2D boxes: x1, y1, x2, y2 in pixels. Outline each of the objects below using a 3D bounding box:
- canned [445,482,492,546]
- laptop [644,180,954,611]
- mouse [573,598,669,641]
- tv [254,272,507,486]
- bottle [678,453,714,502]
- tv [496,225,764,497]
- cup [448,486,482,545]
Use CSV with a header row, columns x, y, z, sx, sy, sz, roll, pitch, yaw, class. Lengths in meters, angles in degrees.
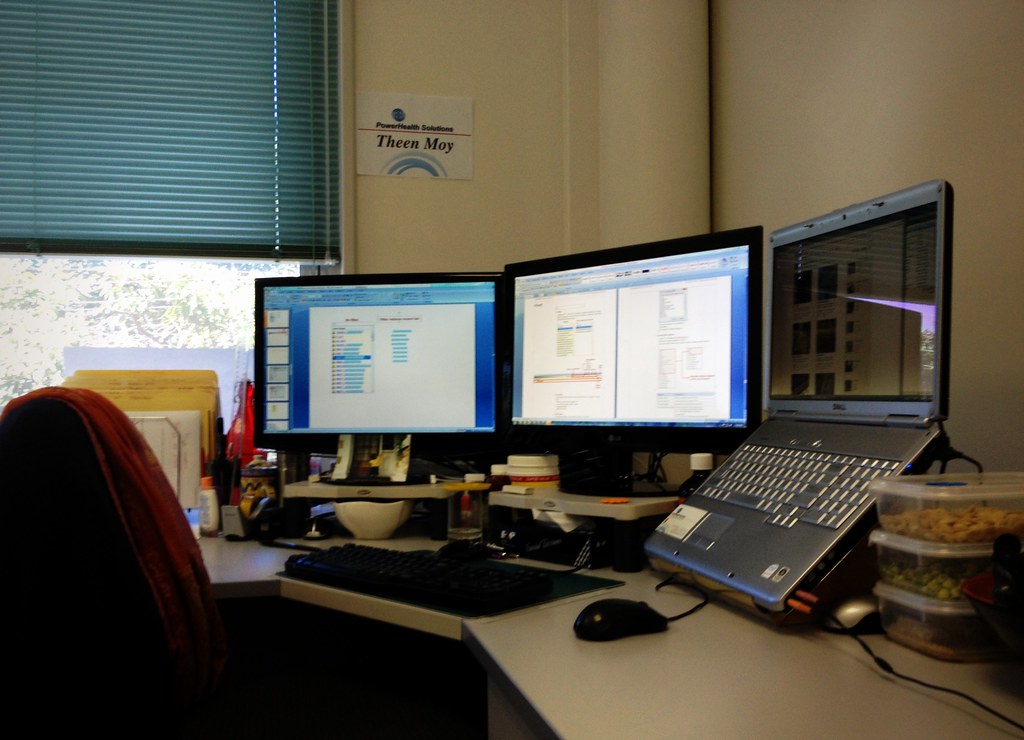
x,y,z,sx,sy,sz,roll,pitch,yaw,class
-0.109,0.325,1.978,0.131,0.161,0.118,1,-4,-11,canned
0.475,0.029,1.484,0.352,0.641,0.496,0,-1,-12,laptop
0.170,0.385,1.382,0.124,0.045,0.065,-4,2,-19,mouse
-0.327,0.013,2.100,0.606,0.488,0.168,-1,-6,2,tv
0.395,0.228,1.867,0.088,0.125,0.091,1,1,0,bottle
0.243,-0.004,1.862,0.625,0.483,0.190,-3,-8,36,tv
-0.109,0.341,2.010,0.080,0.129,0.083,4,-9,1,cup
